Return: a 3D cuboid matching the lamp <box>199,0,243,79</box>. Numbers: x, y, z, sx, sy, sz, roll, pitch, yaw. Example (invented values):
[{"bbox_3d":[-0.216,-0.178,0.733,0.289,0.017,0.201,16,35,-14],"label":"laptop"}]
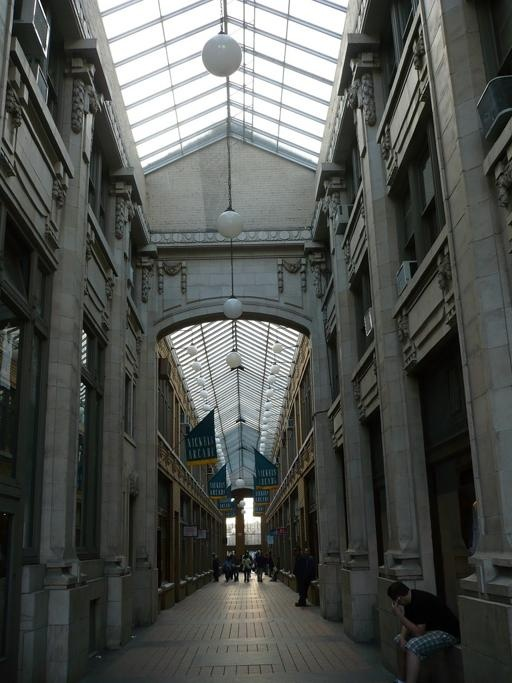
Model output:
[{"bbox_3d":[-0.441,-3.797,6.259,0.486,0.960,0.509,-3,-20,2],"label":"lamp"}]
